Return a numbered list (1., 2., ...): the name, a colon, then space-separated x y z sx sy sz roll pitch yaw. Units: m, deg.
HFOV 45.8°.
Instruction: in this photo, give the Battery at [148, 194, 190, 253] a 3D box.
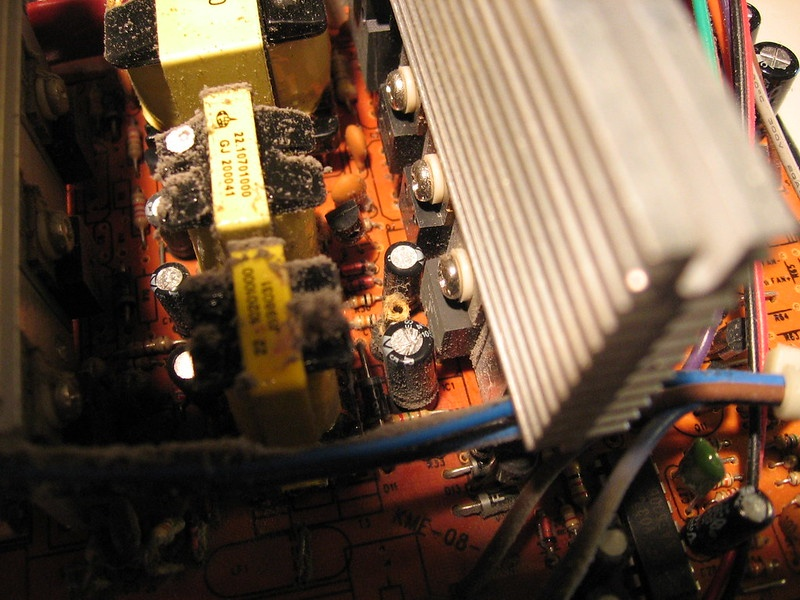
1. Battery: -1.858 -0.623 7.669 0.219 0.406 0.364 20 -2 -8
